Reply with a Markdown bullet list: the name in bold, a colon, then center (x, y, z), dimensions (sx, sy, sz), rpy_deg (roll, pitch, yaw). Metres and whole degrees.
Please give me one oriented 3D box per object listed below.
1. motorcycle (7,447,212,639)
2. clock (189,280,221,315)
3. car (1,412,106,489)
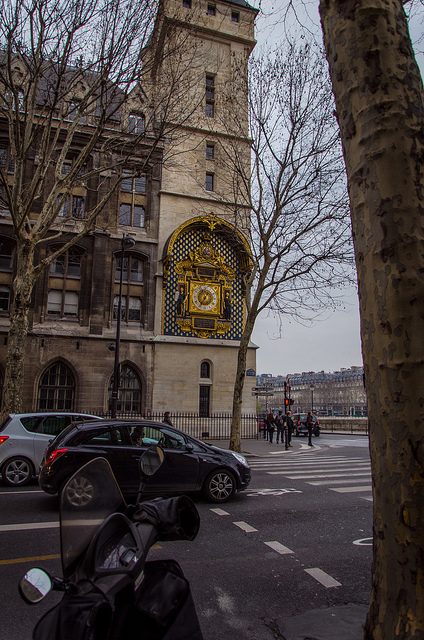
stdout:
- **motorcycle**: center (-0.653, 1.047, 2.196), dimensions (1.050, 0.655, 0.678), rpy_deg (-24, -26, 24)
- **clock**: center (-0.447, -1.118, 26.141), dimensions (1.611, 1.682, 0.161), rpy_deg (6, -17, -30)
- **car**: center (-2.834, 2.677, 10.097), dimensions (2.574, 1.343, 1.512), rpy_deg (0, -6, -16)
